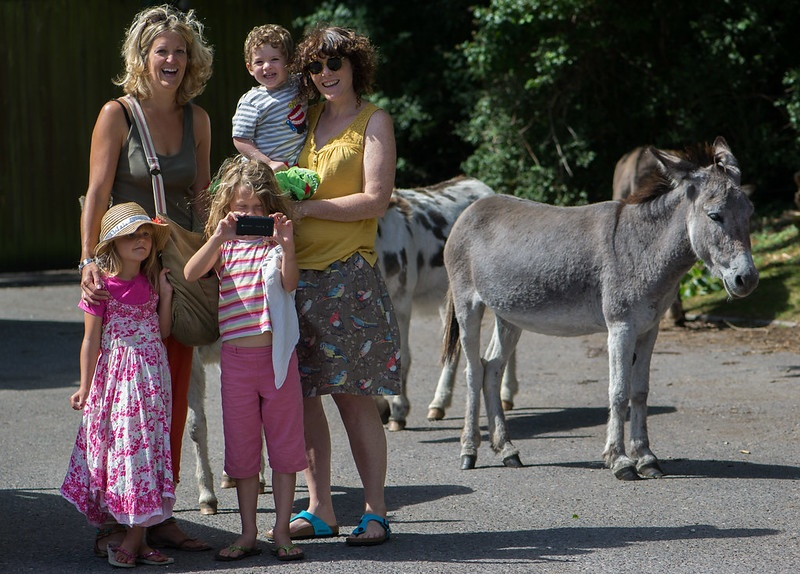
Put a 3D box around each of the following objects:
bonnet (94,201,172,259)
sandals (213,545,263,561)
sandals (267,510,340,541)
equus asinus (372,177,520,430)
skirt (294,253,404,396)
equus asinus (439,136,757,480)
[{"bbox_3d":[-2.076,-0.482,9.947,0.599,0.395,0.564,-4,17,-20],"label":"bonnet"},{"bbox_3d":[-1.239,1.991,9.846,0.310,0.084,0.123,-3,35,-15],"label":"sandals"},{"bbox_3d":[-0.771,1.869,10.167,0.555,0.236,0.201,0,-3,-18],"label":"sandals"},{"bbox_3d":[0.160,-0.316,14.591,0.893,2.621,3.343,-1,-1,40],"label":"equus asinus"},{"bbox_3d":[-0.412,0.288,9.995,0.797,1.050,0.402,-2,13,-3],"label":"skirt"},{"bbox_3d":[1.692,0.135,11.298,2.705,2.827,1.156,2,14,15],"label":"equus asinus"}]
